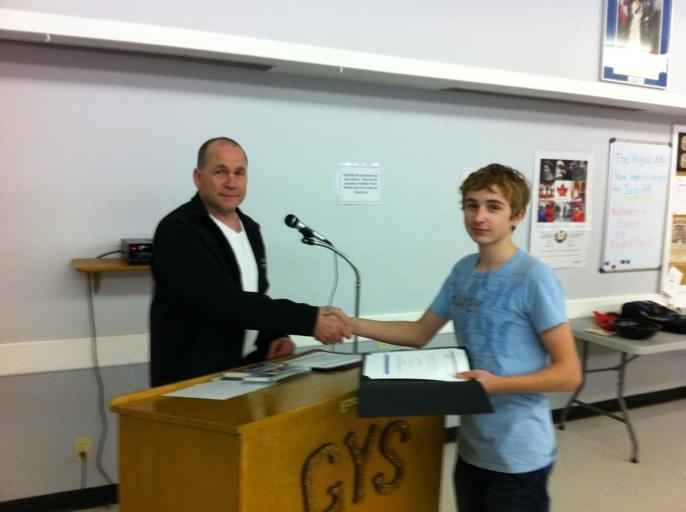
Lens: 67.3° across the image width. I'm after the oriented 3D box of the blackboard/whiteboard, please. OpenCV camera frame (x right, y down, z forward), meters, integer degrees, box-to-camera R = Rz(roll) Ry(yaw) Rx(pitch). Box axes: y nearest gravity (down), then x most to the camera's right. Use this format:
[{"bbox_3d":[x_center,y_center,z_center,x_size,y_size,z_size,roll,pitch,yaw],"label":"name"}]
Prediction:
[{"bbox_3d":[2.432,-0.416,4.229,0.777,1.053,0.199,-4,11,-28],"label":"blackboard/whiteboard"}]
